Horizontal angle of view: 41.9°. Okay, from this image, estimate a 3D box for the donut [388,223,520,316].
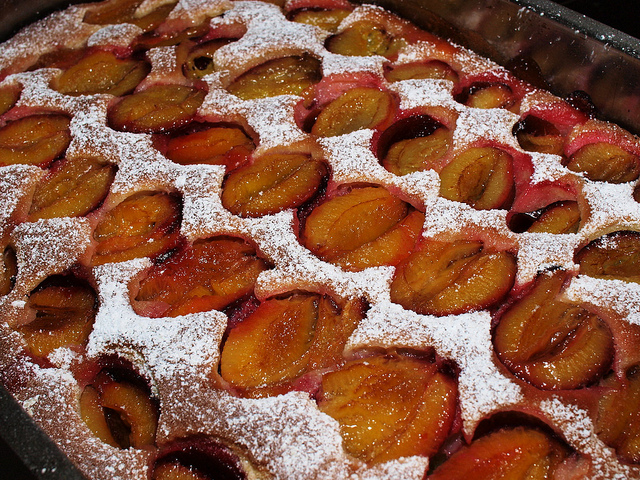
[{"bbox_3d":[0.301,0.068,1.860,0.252,0.031,0.244,21,65,6],"label":"donut"}]

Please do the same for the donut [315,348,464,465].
[{"bbox_3d":[0.138,0.339,1.730,0.297,0.040,0.244,0,65,-4],"label":"donut"}]

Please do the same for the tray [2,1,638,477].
[{"bbox_3d":[0.087,-0.192,2.122,1.780,0.445,1.417,-7,66,-7],"label":"tray"}]
